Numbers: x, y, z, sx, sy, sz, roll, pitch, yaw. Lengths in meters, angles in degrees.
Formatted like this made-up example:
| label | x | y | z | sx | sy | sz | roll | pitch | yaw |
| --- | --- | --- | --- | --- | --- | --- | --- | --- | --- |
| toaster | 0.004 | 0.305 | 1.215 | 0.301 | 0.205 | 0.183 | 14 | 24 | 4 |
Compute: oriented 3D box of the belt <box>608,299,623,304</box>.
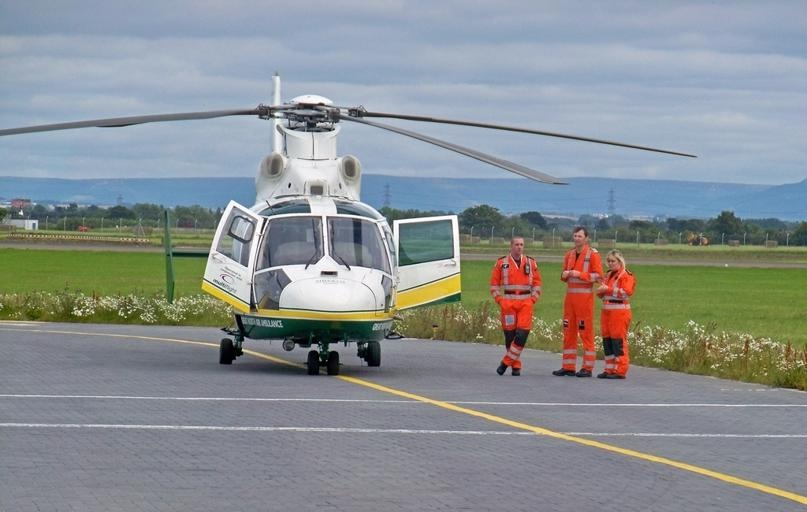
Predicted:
| label | x | y | z | sx | sy | sz | roll | pitch | yaw |
| --- | --- | --- | --- | --- | --- | --- | --- | --- | --- |
| belt | 4.029 | 0.877 | 20.240 | 0.154 | 0.089 | 0.033 | 1 | 4 | 8 |

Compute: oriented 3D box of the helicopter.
| label | x | y | z | sx | sy | sz | roll | pitch | yaw |
| --- | --- | --- | --- | --- | --- | --- | --- | --- | --- |
| helicopter | -1.319 | -0.166 | 19.855 | 8.230 | 2.891 | 7.402 | 1 | 2 | -11 |
